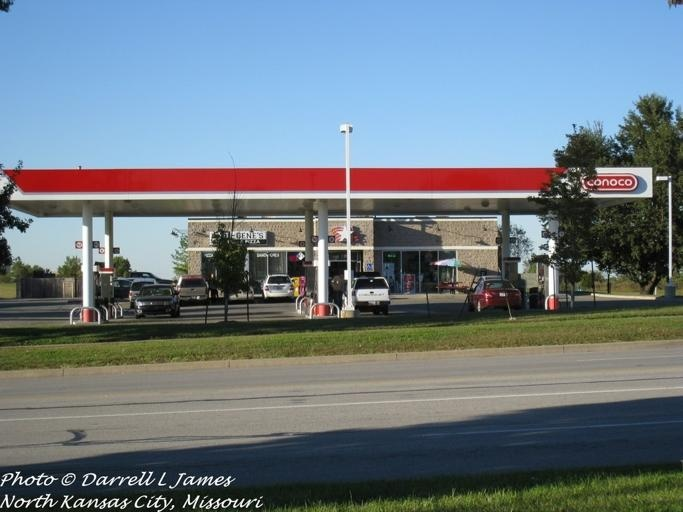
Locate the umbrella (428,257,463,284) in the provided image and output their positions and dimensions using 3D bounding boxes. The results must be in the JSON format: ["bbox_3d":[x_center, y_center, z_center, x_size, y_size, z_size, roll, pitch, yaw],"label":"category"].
[{"bbox_3d":[7.332,0.916,66.560,1.634,1.756,1.934,1,-1,23],"label":"umbrella"}]
